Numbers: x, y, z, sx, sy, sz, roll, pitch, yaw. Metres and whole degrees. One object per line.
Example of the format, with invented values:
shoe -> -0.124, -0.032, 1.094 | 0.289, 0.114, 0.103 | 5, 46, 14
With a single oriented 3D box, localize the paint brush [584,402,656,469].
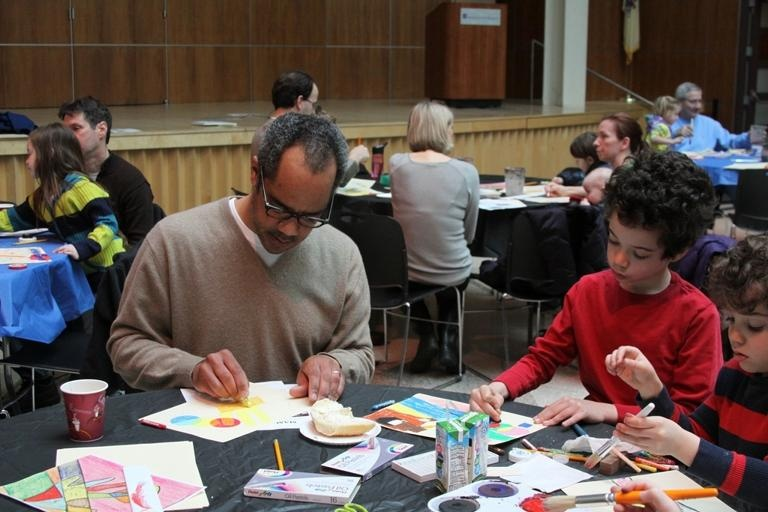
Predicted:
paint brush -> 0.630, 0.493, 1.738 | 0.020, 0.191, 0.044 | 41, 17, 0

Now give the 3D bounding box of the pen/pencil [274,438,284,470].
pen/pencil -> -0.278, 0.532, 1.699 | 0.017, 0.017, 0.144 | 11, 22, -17

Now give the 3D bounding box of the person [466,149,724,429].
person -> 0.702, -0.012, 2.412 | 0.892, 1.108, 0.782 | -5, 16, -23

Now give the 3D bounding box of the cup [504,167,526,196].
cup -> 0.929, -0.569, 4.740 | 0.174, 0.198, 0.179 | 1, 21, 0
